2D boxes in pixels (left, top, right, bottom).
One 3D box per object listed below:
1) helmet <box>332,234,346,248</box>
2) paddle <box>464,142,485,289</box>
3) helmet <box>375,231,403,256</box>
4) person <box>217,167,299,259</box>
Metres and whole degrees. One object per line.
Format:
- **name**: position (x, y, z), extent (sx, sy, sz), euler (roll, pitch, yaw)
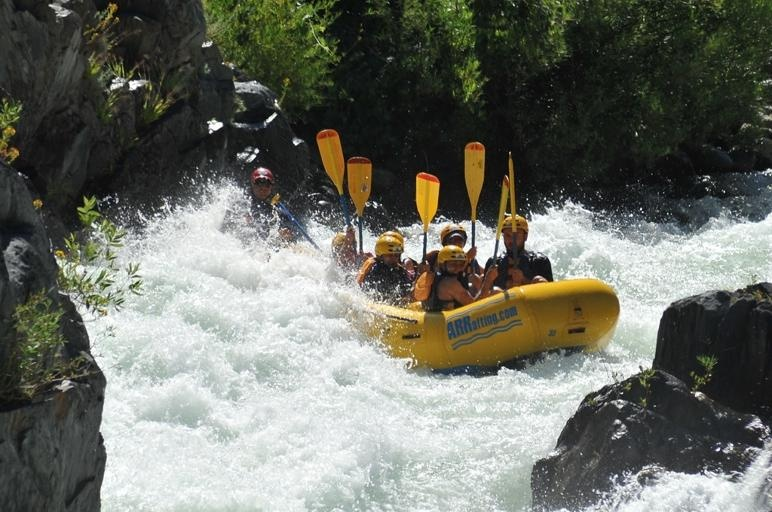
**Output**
- **helmet**: position (-0.646, -0.219, 12.516), extent (0.149, 0.203, 0.199), euler (4, -9, -14)
- **paddle**: position (1.191, -0.493, 12.319), extent (0.068, 2.201, 0.342), euler (-1, 4, -44)
- **helmet**: position (0.033, -0.133, 11.462), extent (0.241, 0.333, 0.329), euler (5, -26, -42)
- **person**: position (-1.791, -0.412, 12.912), extent (0.867, 1.255, 0.514), euler (-9, -30, -24)
